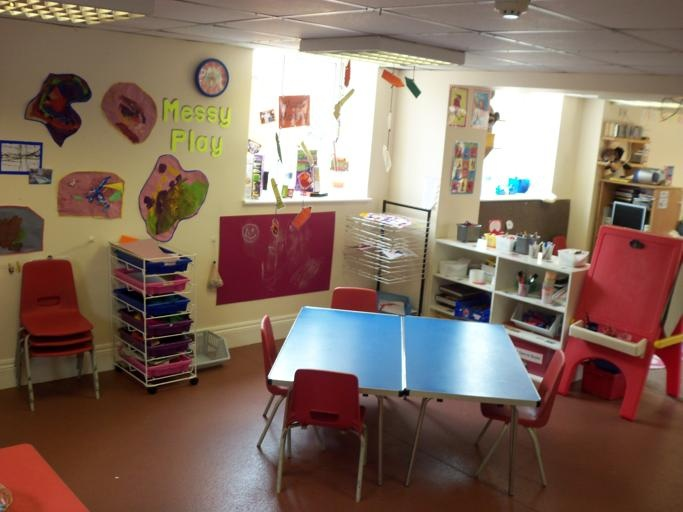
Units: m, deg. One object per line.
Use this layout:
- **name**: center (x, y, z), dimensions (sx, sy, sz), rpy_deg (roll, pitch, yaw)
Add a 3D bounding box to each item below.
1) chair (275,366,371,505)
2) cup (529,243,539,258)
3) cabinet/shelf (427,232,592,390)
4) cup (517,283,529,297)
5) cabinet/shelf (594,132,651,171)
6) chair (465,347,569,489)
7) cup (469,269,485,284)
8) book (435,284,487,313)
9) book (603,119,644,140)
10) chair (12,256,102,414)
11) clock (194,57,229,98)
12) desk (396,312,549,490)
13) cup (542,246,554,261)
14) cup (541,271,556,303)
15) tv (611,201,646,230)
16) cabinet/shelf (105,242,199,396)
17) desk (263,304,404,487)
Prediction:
- **chair**: center (-0.126, 1.197, 3.369), dimensions (0.637, 1.052, 0.648), rpy_deg (2, 21, 1)
- **cup**: center (1.842, -0.050, 4.955), dimensions (0.116, 0.138, 0.123), rpy_deg (5, 5, 0)
- **cabinet/shelf**: center (1.531, 0.500, 4.604), dimensions (0.411, 1.057, 1.245), rpy_deg (-1, 17, -44)
- **cup**: center (1.753, 0.325, 4.914), dimensions (0.093, 0.115, 0.083), rpy_deg (9, 14, 14)
- **cabinet/shelf**: center (3.827, -1.414, 7.061), dimensions (0.840, 0.642, 0.489), rpy_deg (1, 7, 2)
- **chair**: center (1.285, 1.059, 3.690), dimensions (0.516, 0.942, 0.695), rpy_deg (10, 14, 18)
- **cup**: center (1.390, 0.213, 5.288), dimensions (0.140, 0.111, 0.139), rpy_deg (1, 9, 0)
- **book**: center (1.302, 0.440, 5.522), dimensions (0.348, 0.109, 0.337), rpy_deg (-6, 11, -37)
- **book**: center (3.785, -1.673, 6.845), dimensions (0.404, 0.154, 0.297), rpy_deg (5, 4, -8)
- **chair**: center (-2.295, 0.598, 4.111), dimensions (0.599, 1.087, 0.563), rpy_deg (-4, 16, -34)
- **clock**: center (-1.172, -1.610, 4.639), dimensions (0.328, 0.328, 0.059), rpy_deg (-6, 17, -40)
- **desk**: center (0.868, 0.740, 3.584), dimensions (0.885, 0.775, 1.589), rpy_deg (2, 17, 4)
- **cup**: center (2.000, -0.033, 4.912), dimensions (0.123, 0.139, 0.115), rpy_deg (2, 20, -1)
- **cup**: center (1.959, 0.289, 4.820), dimensions (0.096, 0.269, 0.218), rpy_deg (11, 14, 23)
- **tv**: center (3.730, -0.518, 6.607), dimensions (0.043, 0.443, 0.438), rpy_deg (-7, 21, -38)
- **cabinet/shelf**: center (-1.593, 0.487, 4.470), dimensions (0.599, 1.223, 0.732), rpy_deg (-6, 18, -41)
- **desk**: center (-0.042, 1.304, 3.982), dimensions (0.893, 0.760, 1.561), rpy_deg (6, 22, 7)
